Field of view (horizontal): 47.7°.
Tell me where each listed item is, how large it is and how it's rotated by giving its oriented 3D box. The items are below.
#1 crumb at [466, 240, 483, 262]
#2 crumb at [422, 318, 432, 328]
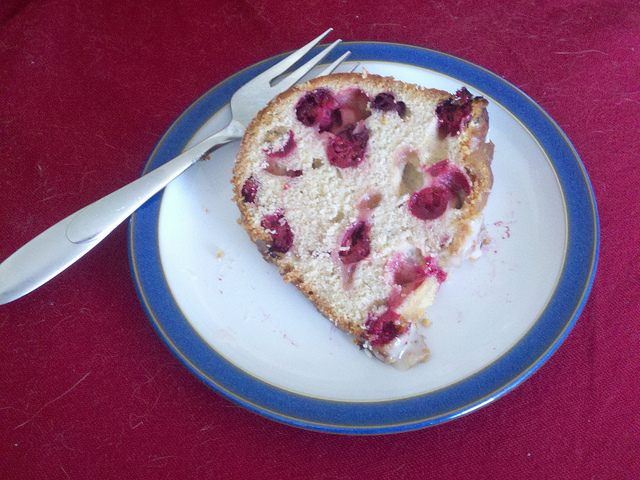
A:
[{"bbox_3d":[0.511,0.040,2.374,0.059,0.012,0.067,-22,57,41],"label":"crumb"},{"bbox_3d":[0.347,0.270,2.350,0.024,0.010,0.026,-31,74,-17],"label":"crumb"}]
